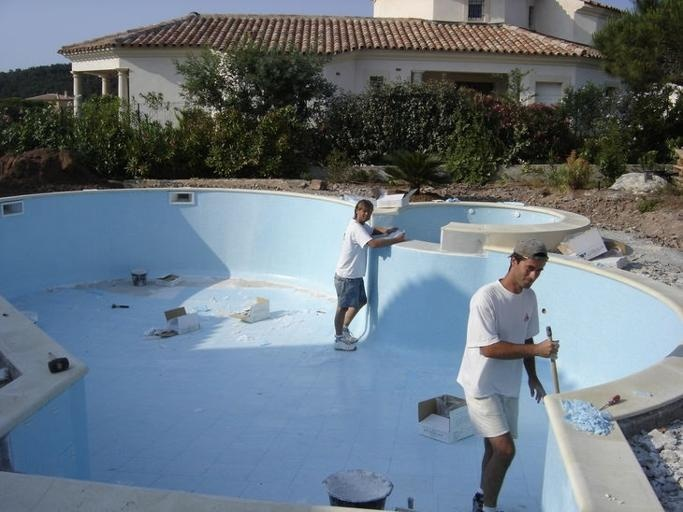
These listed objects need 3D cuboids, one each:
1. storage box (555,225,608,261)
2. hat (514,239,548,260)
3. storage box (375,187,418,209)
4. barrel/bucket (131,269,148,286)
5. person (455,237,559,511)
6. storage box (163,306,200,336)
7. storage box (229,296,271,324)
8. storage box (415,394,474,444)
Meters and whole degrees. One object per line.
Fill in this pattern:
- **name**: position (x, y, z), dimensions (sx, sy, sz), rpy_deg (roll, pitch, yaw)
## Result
- **storage box**: position (3.743, -0.041, 8.020), dimensions (0.804, 0.570, 0.203), rpy_deg (-21, -8, -17)
- **hat**: position (1.403, -0.053, 3.775), dimensions (0.227, 0.134, 0.181), rpy_deg (8, 16, 31)
- **storage box**: position (0.918, -0.963, 8.743), dimensions (0.554, 0.238, 0.390), rpy_deg (-1, 19, 4)
- **barrel/bucket**: position (-4.238, 0.440, 10.659), dimensions (0.289, 0.255, 0.320), rpy_deg (1, 2, 6)
- **person**: position (1.273, 0.995, 3.920), dimensions (0.698, 2.235, 0.657), rpy_deg (-10, 16, -35)
- **storage box**: position (-2.553, 1.009, 8.130), dimensions (0.375, 0.454, 0.442), rpy_deg (1, 10, 16)
- **storage box**: position (-1.566, 0.894, 8.700), dimensions (0.610, 0.309, 0.502), rpy_deg (9, 17, 36)
- **storage box**: position (1.090, 1.670, 5.281), dimensions (0.491, 0.331, 0.486), rpy_deg (-3, 0, -37)
